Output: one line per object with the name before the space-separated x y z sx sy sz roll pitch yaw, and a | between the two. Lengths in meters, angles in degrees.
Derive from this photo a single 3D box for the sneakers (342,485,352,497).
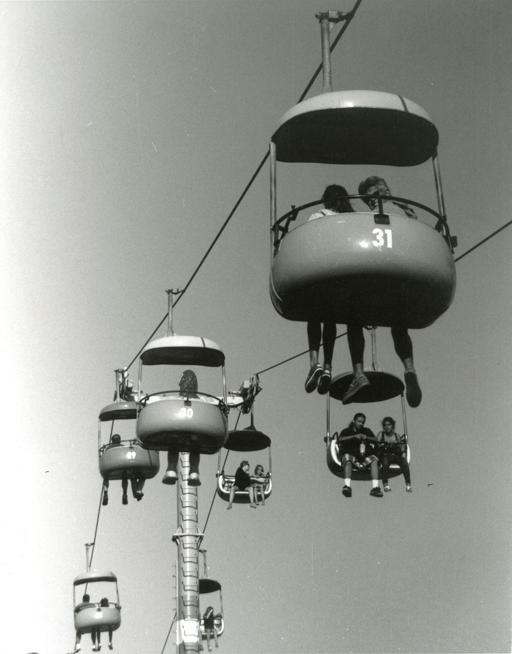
sneakers | 1.003 1.853 18.565 0.109 0.170 0.061 -1 10 4

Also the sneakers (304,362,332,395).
sneakers | 0.521 0.507 14.246 0.172 0.122 0.321 6 -60 -4

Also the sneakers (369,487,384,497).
sneakers | 1.372 1.856 19.020 0.111 0.119 0.263 1 -16 -8

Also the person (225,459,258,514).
person | -0.189 2.132 22.525 0.384 1.006 0.678 -1 -33 -1
